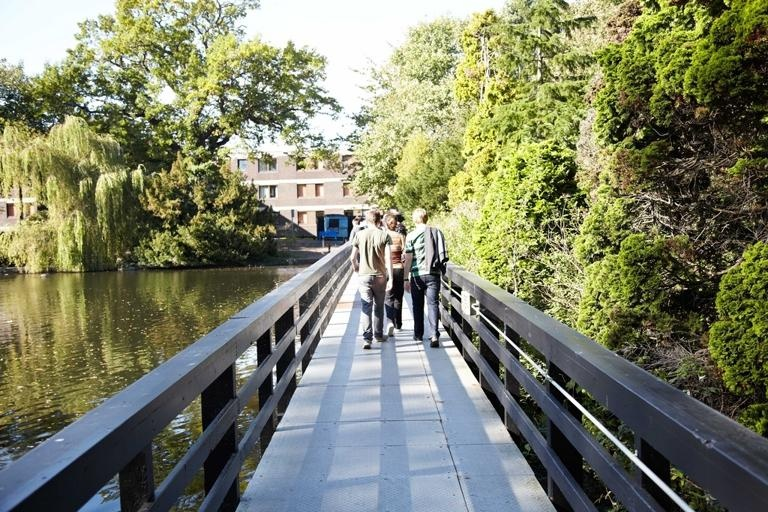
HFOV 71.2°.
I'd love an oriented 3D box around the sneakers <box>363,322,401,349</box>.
[{"bbox_3d":[-0.038,1.170,7.595,0.186,0.268,0.581,11,20,31],"label":"sneakers"}]
